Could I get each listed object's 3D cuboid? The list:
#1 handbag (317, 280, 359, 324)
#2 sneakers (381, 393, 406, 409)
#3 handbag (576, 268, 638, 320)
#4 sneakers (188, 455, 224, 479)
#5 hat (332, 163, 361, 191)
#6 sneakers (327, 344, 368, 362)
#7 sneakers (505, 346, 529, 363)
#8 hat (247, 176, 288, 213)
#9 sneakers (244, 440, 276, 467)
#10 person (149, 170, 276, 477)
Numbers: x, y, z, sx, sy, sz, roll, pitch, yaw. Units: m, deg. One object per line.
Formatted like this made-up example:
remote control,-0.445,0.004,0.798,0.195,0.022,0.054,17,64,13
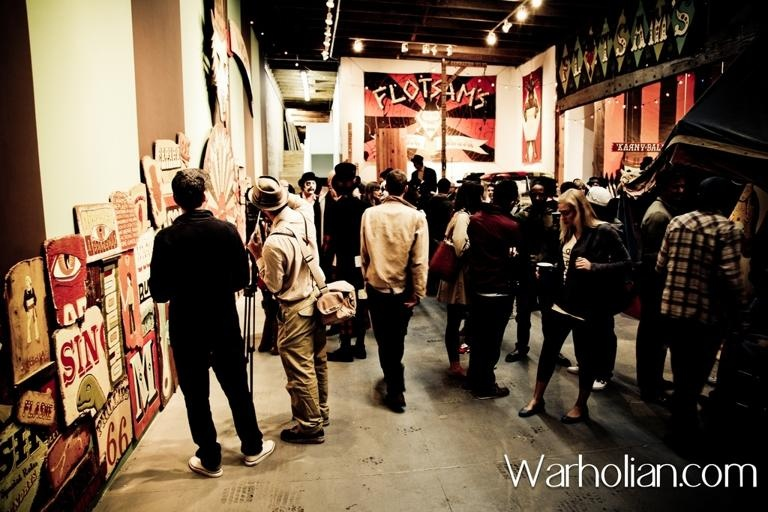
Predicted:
handbag,-0.425,0.404,4.729,0.308,0.375,0.146,-2,-8,-23
sneakers,0.103,1.412,5.314,0.115,0.139,0.202,3,13,-17
handbag,2.034,0.298,4.884,0.452,0.463,0.420,-3,6,-17
sneakers,-1.484,1.737,4.499,0.277,0.119,0.133,28,22,22
hat,-0.462,-0.910,6.323,0.276,0.341,0.129,2,12,-1
sneakers,-0.435,1.129,6.456,0.528,0.230,0.179,3,6,-5
sneakers,1.576,1.143,6.351,0.363,0.143,0.123,-2,7,-17
hat,-1.014,-0.512,4.705,0.324,0.267,0.124,31,-16,-4
sneakers,-1.059,1.668,4.642,0.114,0.140,0.308,2,13,12
person,-1.403,0.552,4.347,0.854,2.447,0.355,-2,11,-22
